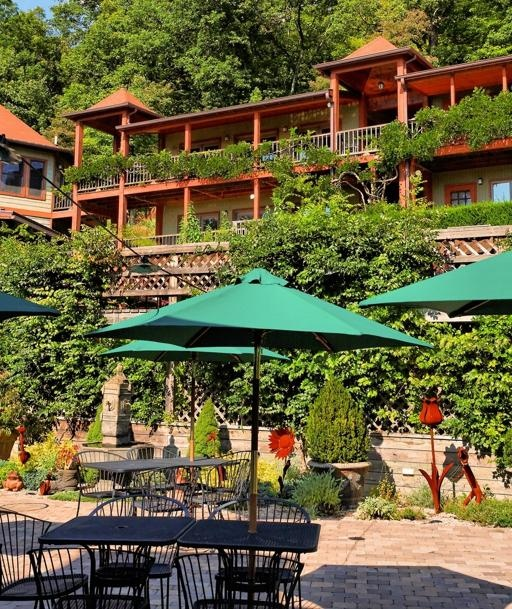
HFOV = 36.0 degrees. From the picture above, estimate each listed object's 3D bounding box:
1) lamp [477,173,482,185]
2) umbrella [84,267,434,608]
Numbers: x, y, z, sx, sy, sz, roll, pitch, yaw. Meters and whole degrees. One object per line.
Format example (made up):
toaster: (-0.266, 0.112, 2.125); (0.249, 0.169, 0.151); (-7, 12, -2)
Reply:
lamp: (5.679, -3.139, 19.934); (0.142, 0.239, 0.105); (-3, -4, 24)
umbrella: (0.023, 0.743, 5.398); (2.113, 1.457, 2.001); (0, -11, 0)
